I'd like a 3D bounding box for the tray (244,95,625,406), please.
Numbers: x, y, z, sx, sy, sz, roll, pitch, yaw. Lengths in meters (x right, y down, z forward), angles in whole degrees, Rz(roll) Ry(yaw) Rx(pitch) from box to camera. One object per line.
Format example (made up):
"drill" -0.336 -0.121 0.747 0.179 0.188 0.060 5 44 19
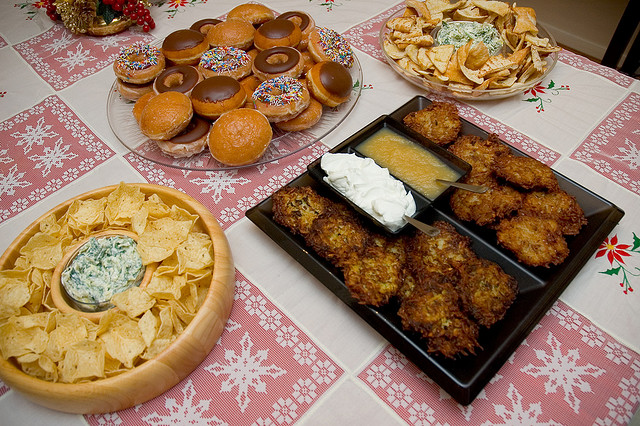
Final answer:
"tray" 0.496 0.016 1.839 1.132 0.238 1.117 -44 69 -13

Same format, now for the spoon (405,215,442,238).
"spoon" 0.405 0.050 1.746 0.059 0.019 0.179 -34 44 -25

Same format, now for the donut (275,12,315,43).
"donut" -0.114 -1.058 2.429 0.204 0.073 0.202 -27 58 -13

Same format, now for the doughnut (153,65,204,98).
"doughnut" -0.739 -0.616 2.190 0.194 0.072 0.198 19 62 2

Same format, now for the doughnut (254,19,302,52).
"doughnut" -0.220 -0.939 2.304 0.186 0.088 0.190 3 57 6

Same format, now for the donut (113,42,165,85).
"donut" -0.919 -0.764 2.231 0.217 0.079 0.221 1 57 -1
